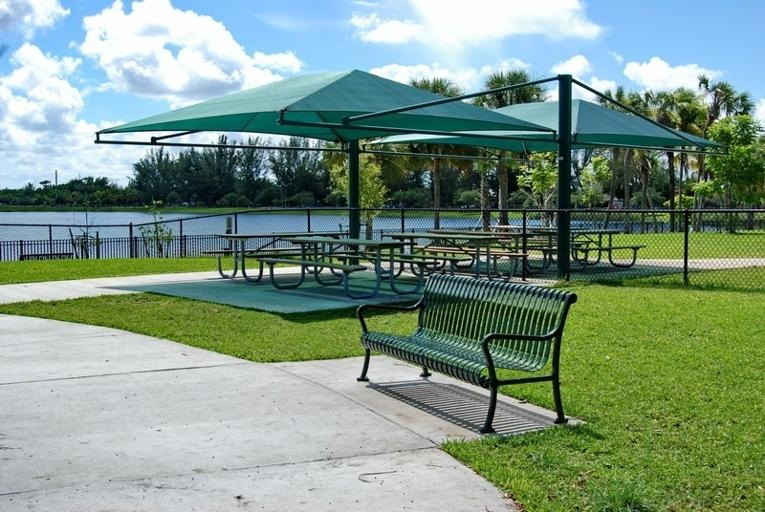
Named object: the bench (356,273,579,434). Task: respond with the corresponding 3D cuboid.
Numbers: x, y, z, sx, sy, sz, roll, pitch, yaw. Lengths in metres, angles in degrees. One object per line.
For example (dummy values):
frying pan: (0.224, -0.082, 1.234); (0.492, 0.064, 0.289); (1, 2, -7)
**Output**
bench: (0.922, 0.912, 7.908); (1.236, 1.310, 2.201); (-8, 13, -33)
